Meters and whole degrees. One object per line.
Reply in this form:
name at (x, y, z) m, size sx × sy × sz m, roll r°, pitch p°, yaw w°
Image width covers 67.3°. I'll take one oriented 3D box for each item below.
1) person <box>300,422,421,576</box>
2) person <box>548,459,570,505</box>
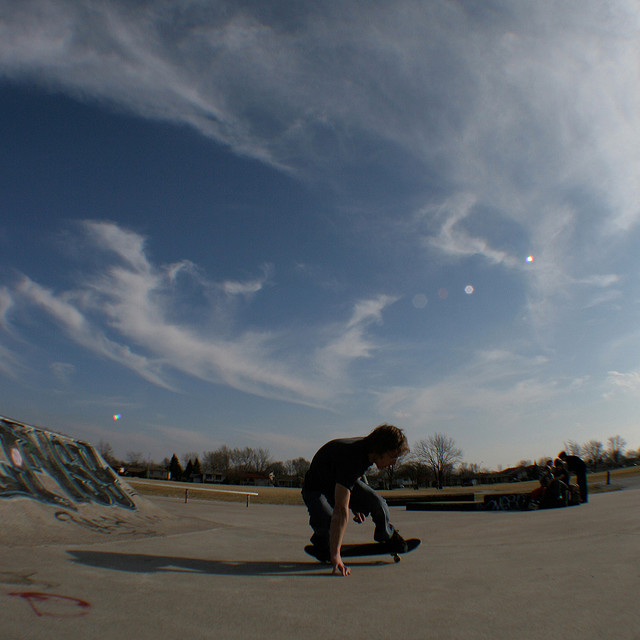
person at (0.285, 1.556, 4.240) m, size 0.941 × 1.234 × 1.328 m, roll 0°, pitch -14°, yaw 9°
person at (5.796, 4.003, 11.723) m, size 0.580 × 0.877 × 0.306 m, roll 14°, pitch -17°, yaw -42°
